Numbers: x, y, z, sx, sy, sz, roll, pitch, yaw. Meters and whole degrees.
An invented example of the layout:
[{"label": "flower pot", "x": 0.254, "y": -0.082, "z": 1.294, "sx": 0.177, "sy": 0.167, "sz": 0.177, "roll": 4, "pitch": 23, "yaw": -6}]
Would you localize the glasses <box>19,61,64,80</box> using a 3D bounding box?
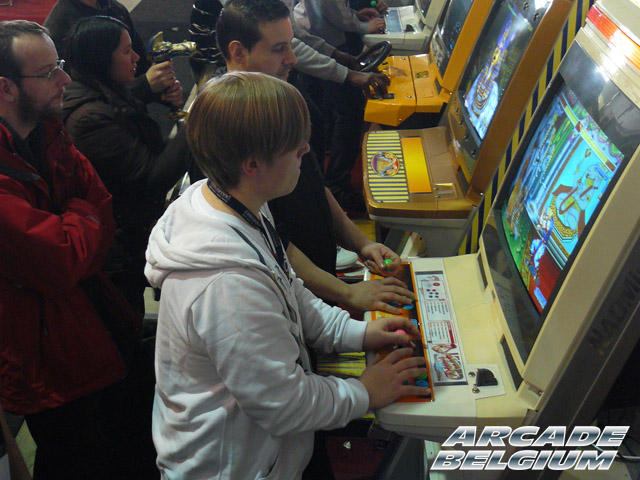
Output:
[{"label": "glasses", "x": -1.124, "y": -0.680, "z": 1.980, "sx": 0.112, "sy": 0.036, "sz": 0.116, "roll": -7, "pitch": 36, "yaw": -4}]
